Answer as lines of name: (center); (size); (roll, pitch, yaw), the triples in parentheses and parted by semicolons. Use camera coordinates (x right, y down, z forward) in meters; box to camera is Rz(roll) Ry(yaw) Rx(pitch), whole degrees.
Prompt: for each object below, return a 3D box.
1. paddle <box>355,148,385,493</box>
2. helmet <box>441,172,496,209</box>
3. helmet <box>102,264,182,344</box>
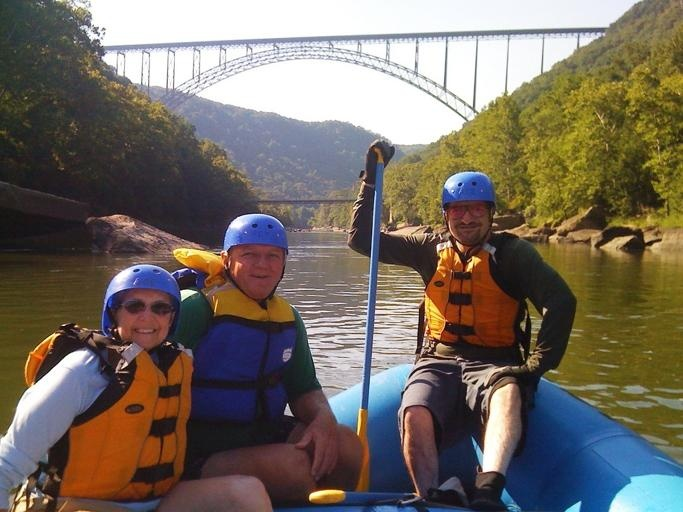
paddle: (0.189, 0.412, 4.273); (0.157, 2.394, 0.236); (3, -3, 14)
helmet: (0.842, -0.437, 4.333); (0.228, 0.181, 0.283); (2, 5, 10)
helmet: (-0.969, 0.215, 3.129); (0.248, 0.406, 0.283); (10, 7, -16)
